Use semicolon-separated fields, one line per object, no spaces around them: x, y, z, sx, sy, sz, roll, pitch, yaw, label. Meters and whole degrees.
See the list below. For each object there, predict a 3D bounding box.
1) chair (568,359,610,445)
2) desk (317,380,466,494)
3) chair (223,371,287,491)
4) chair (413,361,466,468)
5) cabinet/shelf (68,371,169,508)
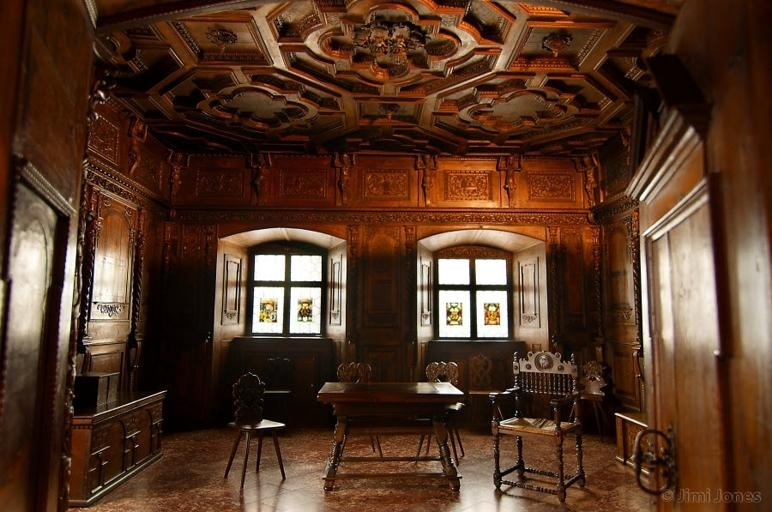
2.784;1.917;7.477;0.406;0.791;0.309;1;4;27;chair
0.036;1.821;5.661;1.473;0.785;0.773;2;-10;-6;desk
-1.440;1.851;6.261;0.631;1.065;1.834;4;-10;-12;chair
0.702;1.870;6.770;0.512;0.984;0.496;-2;2;3;chair
-2.724;1.743;5.492;0.514;1.111;1.244;3;-10;-6;cabinet/shelf
